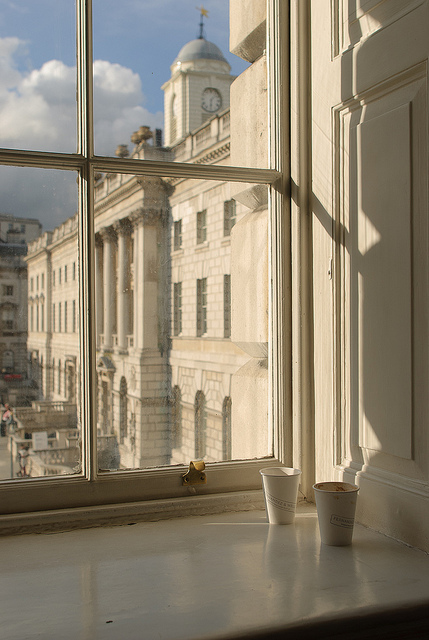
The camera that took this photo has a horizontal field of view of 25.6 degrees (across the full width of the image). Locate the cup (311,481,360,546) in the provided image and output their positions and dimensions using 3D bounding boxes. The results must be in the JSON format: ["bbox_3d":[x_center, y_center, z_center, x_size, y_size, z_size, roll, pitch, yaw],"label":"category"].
[{"bbox_3d":[0.225,0.357,1.757,0.092,0.111,0.097,3,-7,0],"label":"cup"}]

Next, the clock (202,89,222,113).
[{"bbox_3d":[-0.008,-0.476,2.067,0.004,0.067,0.062,5,5,27],"label":"clock"}]

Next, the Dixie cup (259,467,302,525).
[{"bbox_3d":[0.134,0.350,1.890,0.090,0.108,0.093,1,-11,0],"label":"Dixie cup"}]
